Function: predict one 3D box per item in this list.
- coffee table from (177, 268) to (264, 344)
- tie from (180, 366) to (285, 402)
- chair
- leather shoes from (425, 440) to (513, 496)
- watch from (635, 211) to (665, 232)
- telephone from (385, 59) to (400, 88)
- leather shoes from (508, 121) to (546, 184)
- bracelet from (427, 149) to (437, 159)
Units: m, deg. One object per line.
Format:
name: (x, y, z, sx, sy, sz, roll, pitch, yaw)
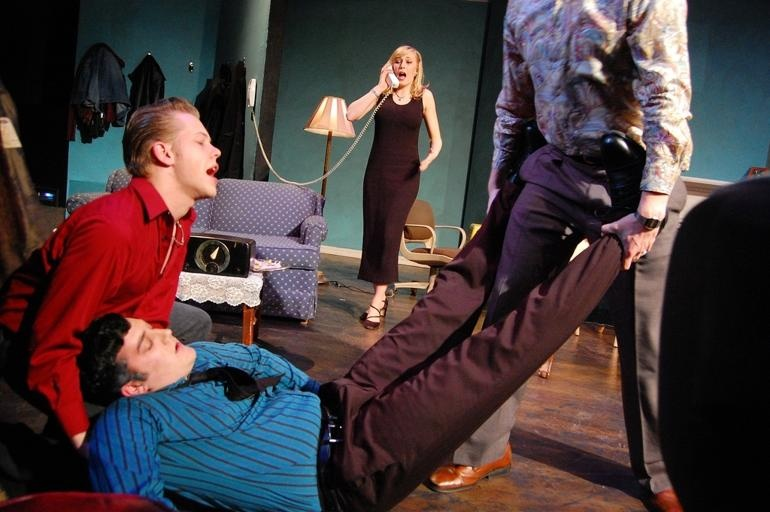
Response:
coffee table: (-0.794, 0.202, 2.748, 0.384, 0.318, 0.352, 5, 0, 1)
tie: (-0.423, 0.351, 1.576, 0.284, 0.090, 0.087, 5, 8, -11)
chair: (0.395, -0.044, 4.682, 0.647, 0.797, 0.595, 6, 5, -24)
leather shoes: (0.310, 0.735, 1.995, 0.341, 0.161, 0.123, 0, 2, -25)
watch: (0.704, -0.088, 1.476, 0.052, 0.027, 0.052, 13, 3, 14)
telephone: (0.046, -1.191, 3.647, 0.048, 0.061, 0.236, 47, 18, -43)
leather shoes: (0.472, -0.350, 1.888, 0.058, 0.189, 0.131, 8, 12, 4)
bracelet: (0.340, -0.741, 3.987, 0.067, 0.094, 0.028, 16, -11, -5)
